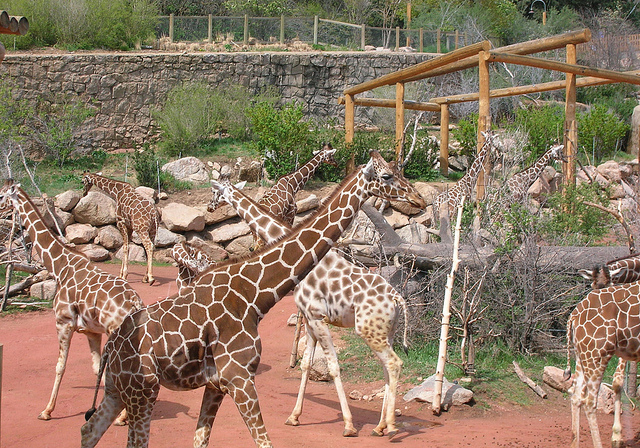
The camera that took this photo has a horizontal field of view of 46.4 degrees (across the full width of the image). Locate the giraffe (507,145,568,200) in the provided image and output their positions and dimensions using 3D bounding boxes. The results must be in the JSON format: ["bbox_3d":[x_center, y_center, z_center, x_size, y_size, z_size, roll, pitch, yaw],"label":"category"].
[{"bbox_3d":[6.507,-1.513,22.415,1.892,1.612,0.665,-5,12,-11],"label":"giraffe"}]

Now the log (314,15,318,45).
[{"bbox_3d":[-0.179,-10.549,40.707,0.219,1.386,0.710,-2,12,0],"label":"log"}]

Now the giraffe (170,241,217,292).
[{"bbox_3d":[-2.683,0.916,15.748,0.722,0.389,1.108,-19,-27,16],"label":"giraffe"}]

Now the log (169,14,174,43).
[{"bbox_3d":[-7.519,-9.901,37.821,0.172,1.299,0.784,-2,12,4],"label":"log"}]

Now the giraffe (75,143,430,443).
[{"bbox_3d":[-1.602,1.425,13.149,5.353,4.432,1.425,-8,13,-23],"label":"giraffe"}]

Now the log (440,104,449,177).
[{"bbox_3d":[4.550,-3.175,27.201,0.432,2.776,0.475,7,41,16],"label":"log"}]

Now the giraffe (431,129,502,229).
[{"bbox_3d":[4.039,-1.289,20.814,1.765,2.713,1.457,-2,12,4],"label":"giraffe"}]

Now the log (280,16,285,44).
[{"bbox_3d":[-1.983,-10.350,39.883,0.295,1.392,0.858,-3,12,-2],"label":"log"}]

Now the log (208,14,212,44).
[{"bbox_3d":[-5.621,-9.970,38.305,0.262,1.329,0.452,-4,12,-6],"label":"log"}]

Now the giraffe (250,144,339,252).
[{"bbox_3d":[-0.828,-0.579,19.092,3.359,2.348,0.712,-27,41,-35],"label":"giraffe"}]

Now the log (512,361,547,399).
[{"bbox_3d":[4.554,3.412,16.071,0.305,0.197,1.317,31,12,-28],"label":"log"}]
